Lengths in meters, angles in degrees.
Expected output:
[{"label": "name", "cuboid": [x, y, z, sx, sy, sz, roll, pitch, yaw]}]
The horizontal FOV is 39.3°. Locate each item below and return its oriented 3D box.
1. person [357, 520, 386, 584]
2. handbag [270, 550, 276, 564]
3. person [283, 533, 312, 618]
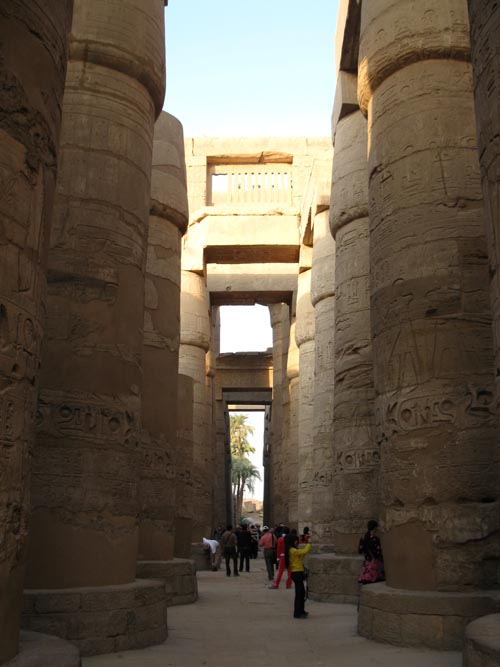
[{"label": "person", "cuboid": [1.275, 2.315, 7.410, 0.253, 0.639, 0.809, -1, -15, 8]}, {"label": "handbag", "cuboid": [0.447, 4.256, 13.256, 0.079, 0.250, 0.167, 3, 1, 4]}, {"label": "person", "cuboid": [0.603, 2.887, 8.403, 0.266, 1.007, 0.293, -7, -3, 40]}]
